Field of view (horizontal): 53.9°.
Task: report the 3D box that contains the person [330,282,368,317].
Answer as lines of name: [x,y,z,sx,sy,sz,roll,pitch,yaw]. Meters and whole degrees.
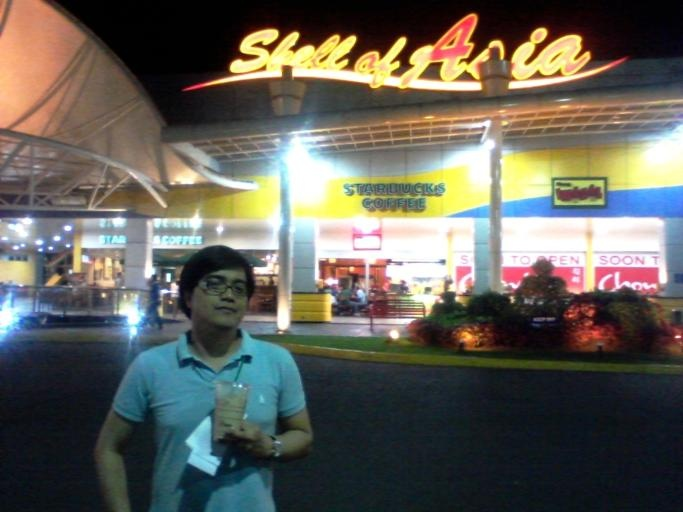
person: [0.591,2.189,32.173,1.196,1.225,1.489,-5,9,-39]
